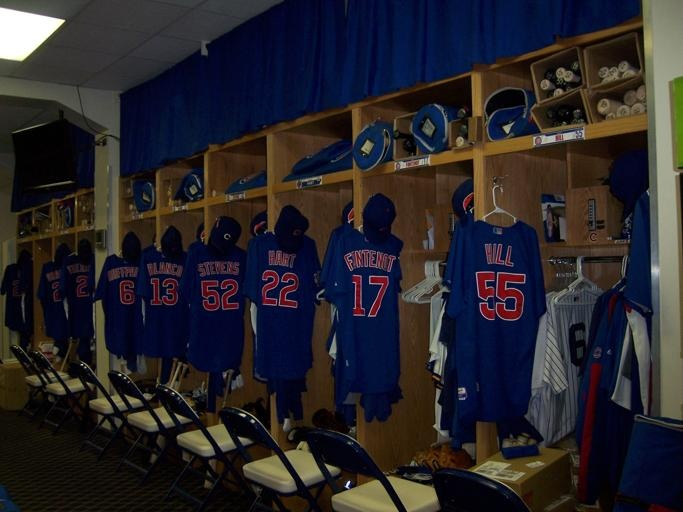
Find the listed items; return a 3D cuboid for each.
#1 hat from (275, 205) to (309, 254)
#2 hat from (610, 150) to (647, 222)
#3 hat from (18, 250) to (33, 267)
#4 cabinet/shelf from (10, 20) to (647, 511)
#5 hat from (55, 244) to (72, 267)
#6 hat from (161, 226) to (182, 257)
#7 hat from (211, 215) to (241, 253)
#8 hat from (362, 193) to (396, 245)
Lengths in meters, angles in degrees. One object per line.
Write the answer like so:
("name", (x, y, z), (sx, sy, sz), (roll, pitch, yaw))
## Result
("hat", (-0.414, -0.246, 5.051), (0.258, 0.391, 0.199), (-3, 18, -35))
("hat", (1.754, -0.412, 3.677), (0.248, 0.365, 0.105), (-1, 12, 12))
("hat", (-5.163, 0.035, 9.882), (0.237, 0.358, 0.122), (-3, 4, 31))
("cabinet/shelf", (0.212, 0.236, 4.966), (4.444, 2.803, 0.850), (-6, -5, 39))
("hat", (-3.933, -0.021, 8.590), (0.296, 0.418, 0.124), (-2, 2, -35))
("hat", (-1.746, -0.121, 6.236), (0.191, 0.211, 0.321), (-5, 37, -16))
("hat", (-1.100, -0.230, 5.663), (0.176, 0.398, 0.247), (-1, 13, 2))
("hat", (0.273, -0.261, 4.418), (0.236, 0.362, 0.130), (-8, 18, -30))
